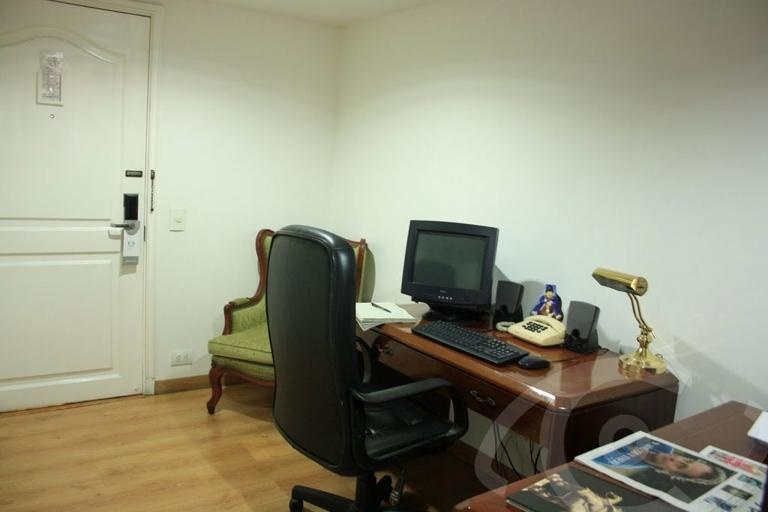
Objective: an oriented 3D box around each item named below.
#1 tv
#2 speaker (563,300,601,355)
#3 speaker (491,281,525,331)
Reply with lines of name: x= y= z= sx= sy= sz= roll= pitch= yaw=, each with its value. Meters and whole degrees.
tv: x=0.411 y=0.054 z=3.458 sx=0.556 sy=0.614 sz=0.331 roll=8 pitch=24 yaw=8
speaker: x=1.072 y=0.367 z=2.932 sx=0.160 sy=0.250 sz=0.148 roll=-14 pitch=22 yaw=-43
speaker: x=0.757 y=0.288 z=3.269 sx=0.151 sy=0.250 sz=0.149 roll=9 pitch=12 yaw=41
